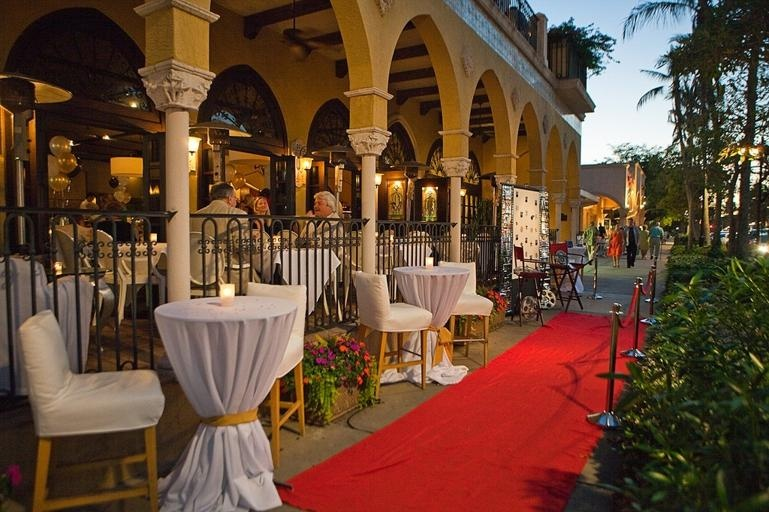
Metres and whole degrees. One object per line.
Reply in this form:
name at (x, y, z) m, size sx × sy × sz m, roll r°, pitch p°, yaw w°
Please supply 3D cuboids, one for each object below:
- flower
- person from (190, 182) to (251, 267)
flower at (-0.612, 1.395, 6.551) m, size 0.770 × 1.050 × 1.153 m, roll 0°, pitch -1°, yaw 30°
person at (-2.075, -0.387, 7.125) m, size 0.723 × 0.947 × 1.836 m, roll -3°, pitch 14°, yaw -15°
